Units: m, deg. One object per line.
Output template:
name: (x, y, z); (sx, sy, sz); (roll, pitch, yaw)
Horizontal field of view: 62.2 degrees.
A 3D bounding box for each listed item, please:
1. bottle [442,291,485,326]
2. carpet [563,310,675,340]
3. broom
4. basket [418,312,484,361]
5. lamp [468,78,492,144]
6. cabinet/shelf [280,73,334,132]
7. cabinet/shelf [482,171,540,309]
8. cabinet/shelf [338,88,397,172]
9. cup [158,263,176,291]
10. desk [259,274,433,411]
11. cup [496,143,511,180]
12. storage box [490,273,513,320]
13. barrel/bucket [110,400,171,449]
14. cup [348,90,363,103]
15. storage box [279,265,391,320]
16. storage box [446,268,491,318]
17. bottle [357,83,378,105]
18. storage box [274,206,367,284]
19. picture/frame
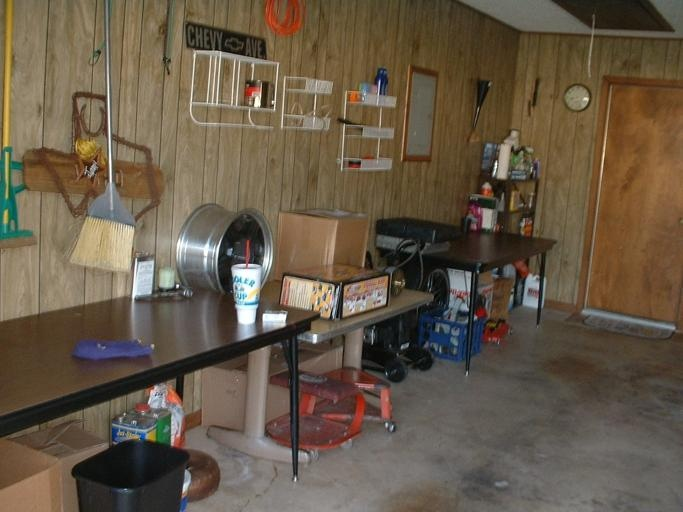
bottle: (1.032, 0.430, 4.729); (0.235, 0.116, 0.325); (3, 4, 37)
carpet: (2.881, 0.706, 5.842); (1.010, 0.056, 0.691); (12, 15, 28)
broom: (-1.076, -0.482, 2.500); (0.268, 1.245, 0.358); (-2, 14, -23)
basket: (0.898, 0.636, 4.597); (0.401, 0.281, 0.412); (8, 12, 33)
lamp: (1.402, -1.460, 5.690); (0.118, 0.628, 0.499); (10, 15, 26)
cabinet/shelf: (-0.170, -0.987, 3.728); (0.282, 0.342, 0.513); (10, 14, 23)
cabinet/shelf: (1.836, -0.363, 6.273); (0.376, 1.514, 0.769); (-4, 7, 43)
cabinet/shelf: (0.167, -0.938, 4.198); (0.196, 0.688, 0.628); (8, 10, 33)
cup: (-0.889, 0.113, 2.850); (0.104, 0.125, 0.105); (3, 7, 0)
desk: (-0.031, 0.656, 3.271); (0.528, 0.662, 0.996); (4, 9, 39)
cup: (1.688, -0.974, 5.892); (0.131, 0.364, 0.210); (7, 14, 15)
storage box: (1.553, 0.463, 5.485); (0.248, 0.380, 0.275); (9, -20, -6)
barrel/bucket: (-0.919, 0.765, 2.667); (0.221, 0.249, 0.226); (4, 3, 0)
cup: (0.088, -1.125, 4.015); (0.082, 0.081, 0.121); (1, 14, -13)
storage box: (0.004, 0.144, 3.031); (0.295, 0.162, 0.428); (6, 8, 40)
storage box: (1.111, 0.365, 4.941); (0.347, 0.446, 0.459); (6, 4, 33)
bottle: (0.172, -1.153, 4.052); (0.084, 0.167, 0.166); (0, 13, 28)
storage box: (-0.336, -0.069, 3.612); (0.570, 0.402, 0.599); (8, 3, 23)
picture/frame: (0.634, -1.234, 4.799); (0.042, 0.921, 0.782); (11, 11, 22)
